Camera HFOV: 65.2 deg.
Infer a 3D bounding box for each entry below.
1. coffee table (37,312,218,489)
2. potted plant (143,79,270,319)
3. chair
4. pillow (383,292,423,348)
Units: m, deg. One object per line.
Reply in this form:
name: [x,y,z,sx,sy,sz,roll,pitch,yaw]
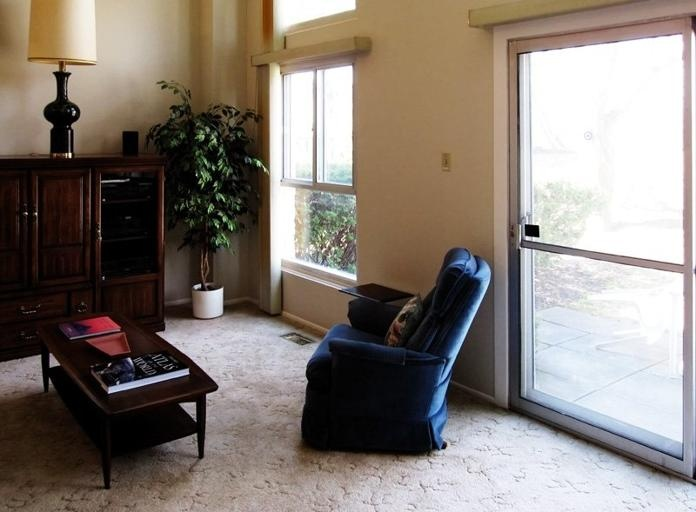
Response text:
coffee table: [-1.509,0.944,3.767,0.717,0.602,1.470,-13,20,-41]
potted plant: [-1.484,-0.618,5.908,1.179,2.449,0.937,-7,16,-24]
chair: [0.326,0.571,4.048,1.257,1.265,1.367,1,0,6]
pillow: [0.382,0.437,3.902,0.259,0.467,0.516,-1,5,2]
